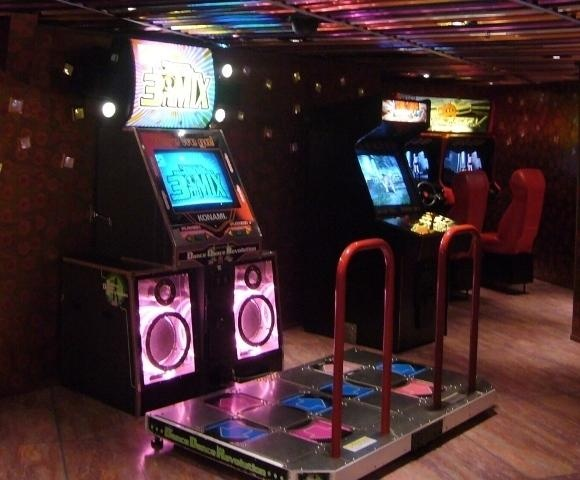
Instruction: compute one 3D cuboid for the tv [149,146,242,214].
[{"bbox_3d":[-0.594,-0.406,3.572,0.560,0.465,0.035,0,-1,29],"label":"tv"}]
